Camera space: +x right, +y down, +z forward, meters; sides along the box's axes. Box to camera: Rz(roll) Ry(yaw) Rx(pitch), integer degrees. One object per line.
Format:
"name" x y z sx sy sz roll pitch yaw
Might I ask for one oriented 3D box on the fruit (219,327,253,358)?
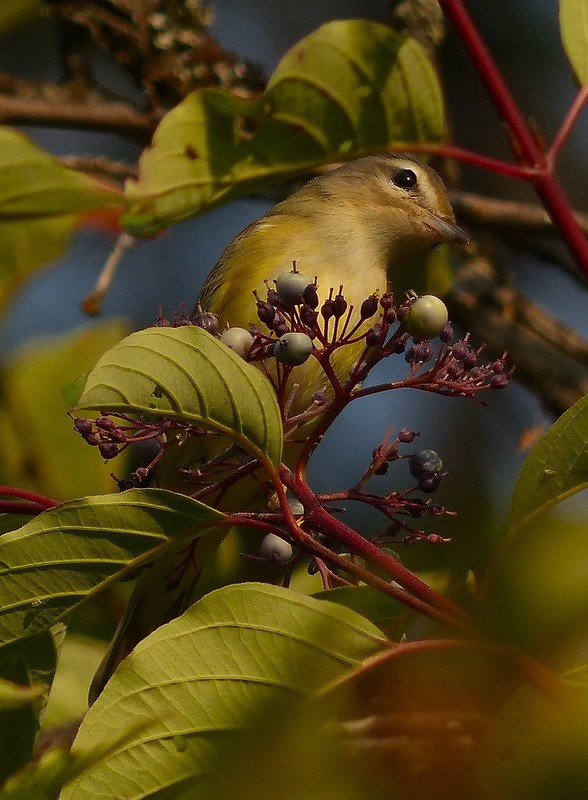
"fruit" -0.103 -0.105 2.039 0.071 0.062 0.062 -7 4 6

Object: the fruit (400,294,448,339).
"fruit" 0.216 -0.134 1.908 0.088 0.076 0.075 0 -12 1

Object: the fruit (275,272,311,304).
"fruit" -0.006 -0.193 1.970 0.068 0.061 0.059 2 -2 6

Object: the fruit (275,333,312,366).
"fruit" -0.004 -0.085 1.898 0.045 0.063 0.038 -20 53 43
